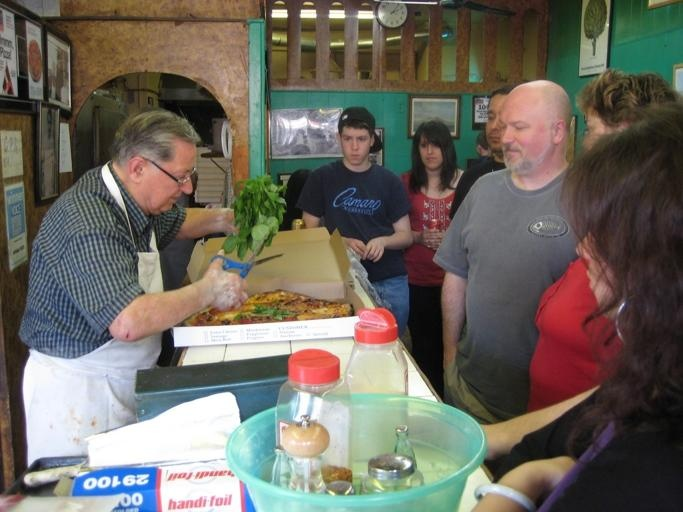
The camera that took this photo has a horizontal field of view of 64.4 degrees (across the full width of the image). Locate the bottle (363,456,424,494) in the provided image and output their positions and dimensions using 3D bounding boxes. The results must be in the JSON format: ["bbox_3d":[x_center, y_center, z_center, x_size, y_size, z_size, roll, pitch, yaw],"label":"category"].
[{"bbox_3d":[0.091,0.391,0.973,0.073,0.067,0.076,-1,-2,-1],"label":"bottle"}]

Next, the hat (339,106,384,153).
[{"bbox_3d":[0.117,-0.829,3.563,0.276,0.303,0.399,-3,13,2],"label":"hat"}]

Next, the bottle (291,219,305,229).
[{"bbox_3d":[-0.244,-0.188,3.021,0.054,0.064,0.055,-7,12,-28],"label":"bottle"}]
